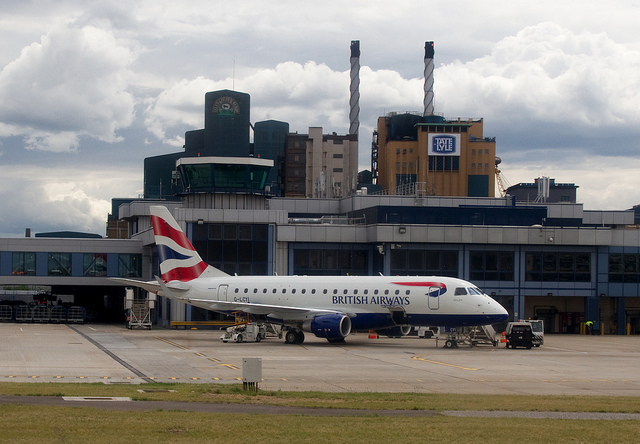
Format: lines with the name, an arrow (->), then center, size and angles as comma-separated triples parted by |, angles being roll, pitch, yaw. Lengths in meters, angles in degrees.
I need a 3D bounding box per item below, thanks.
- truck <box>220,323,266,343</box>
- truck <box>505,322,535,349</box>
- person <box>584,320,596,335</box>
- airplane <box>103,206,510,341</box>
truck -> -6.308, 9.378, 107.601 | 2.471, 1.013, 2.017 | 1, -2, -32
truck -> 15.988, 9.329, 105.071 | 2.205, 2.140, 1.646 | 0, -3, 7
person -> 25.521, 10.175, 123.127 | 0.824, 1.347, 2.425 | -1, -3, 14
airplane -> -0.523, 5.097, 111.109 | 36.672, 10.480, 30.508 | -3, 1, 38
